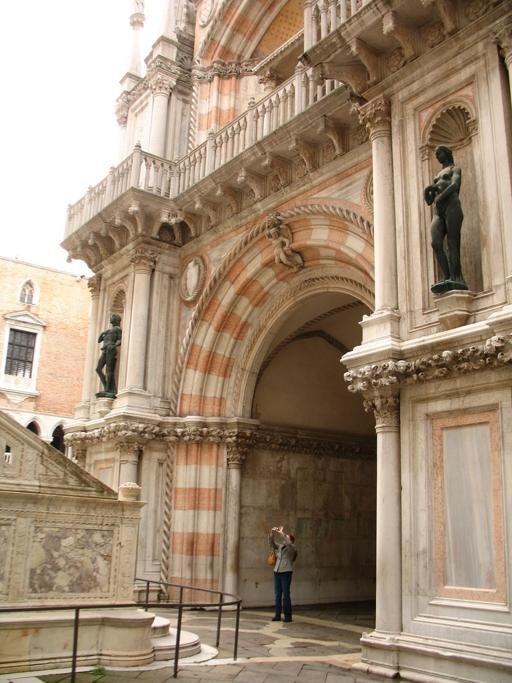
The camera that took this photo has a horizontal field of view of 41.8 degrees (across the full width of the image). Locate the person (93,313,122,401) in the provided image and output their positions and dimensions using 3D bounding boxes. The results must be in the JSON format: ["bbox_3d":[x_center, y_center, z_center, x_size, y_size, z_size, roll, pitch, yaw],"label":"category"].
[{"bbox_3d":[-3.064,0.352,13.961,0.467,1.764,1.245,4,-16,-13],"label":"person"}]

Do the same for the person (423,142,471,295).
[{"bbox_3d":[1.941,-1.301,6.923,0.361,1.649,0.318,-3,-16,13],"label":"person"}]
